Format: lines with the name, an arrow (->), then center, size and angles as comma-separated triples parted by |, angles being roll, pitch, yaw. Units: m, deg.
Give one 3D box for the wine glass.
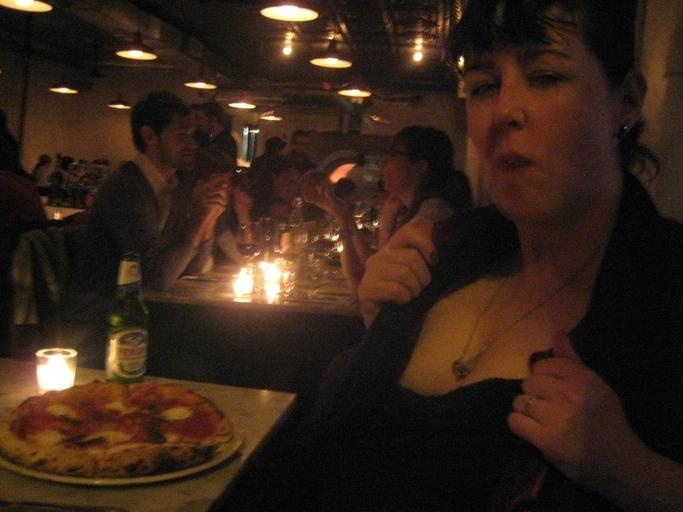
wine glass -> -0.209, 0.027, 2.171 | 0.365, 0.124, 0.250 | -2, 15, 0
